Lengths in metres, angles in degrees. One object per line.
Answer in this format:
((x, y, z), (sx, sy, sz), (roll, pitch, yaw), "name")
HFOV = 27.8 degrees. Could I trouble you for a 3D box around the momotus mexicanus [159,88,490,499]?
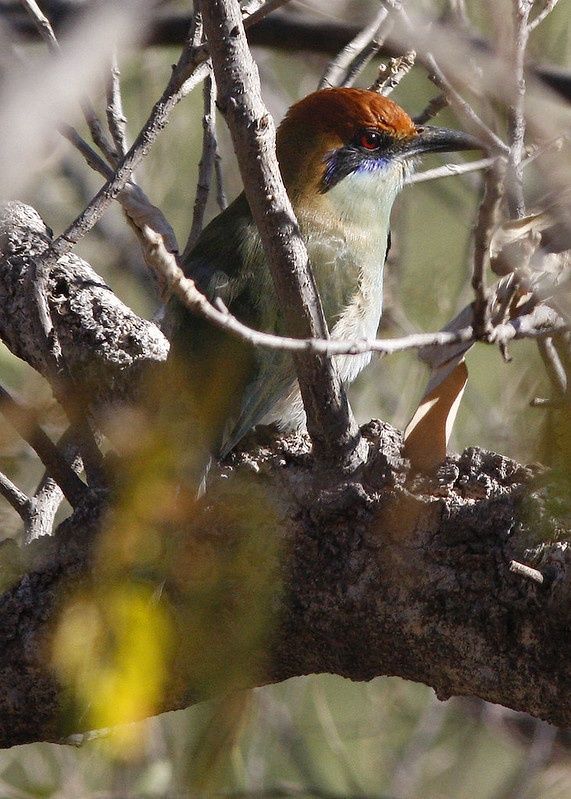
((0.042, -0.456, 3.912), (0.697, 0.906, 1.489), (24, 61, 20), "momotus mexicanus")
